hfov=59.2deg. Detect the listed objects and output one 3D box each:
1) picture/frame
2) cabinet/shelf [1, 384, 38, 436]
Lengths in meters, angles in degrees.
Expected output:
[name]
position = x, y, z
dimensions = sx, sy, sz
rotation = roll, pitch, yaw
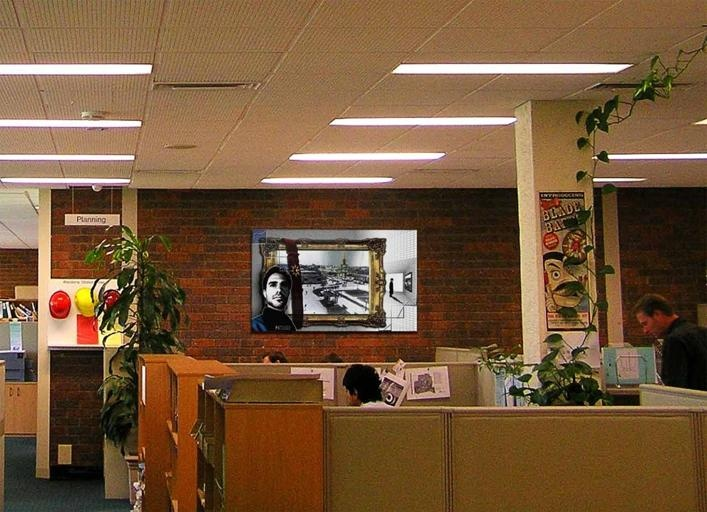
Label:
[picture/frame]
position = -0.558, 0.424, 9.306
dimensions = 1.641, 1.026, 0.112
rotation = 0, -3, -2
[cabinet/shelf]
position = -5.778, 2.668, 10.802
dimensions = 0.467, 0.948, 0.627
rotation = 3, -9, -27
